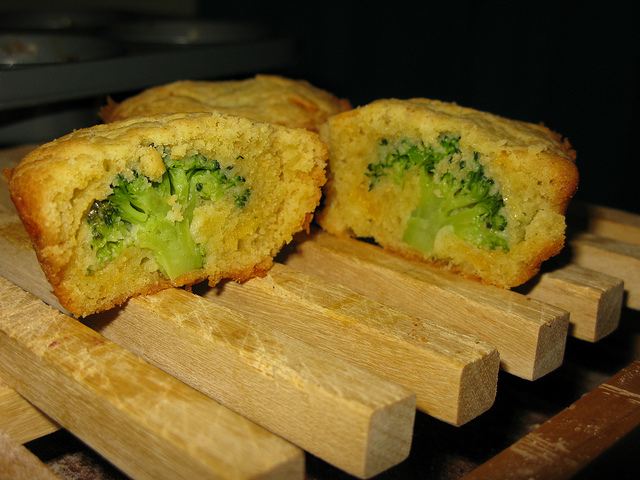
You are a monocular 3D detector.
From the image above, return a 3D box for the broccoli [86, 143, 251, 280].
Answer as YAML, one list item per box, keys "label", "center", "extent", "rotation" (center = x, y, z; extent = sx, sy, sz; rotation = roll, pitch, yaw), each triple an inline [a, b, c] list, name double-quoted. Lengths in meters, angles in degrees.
- label: "broccoli"
  center: [-0.388, -0.074, 1.324]
  extent: [0.347, 0.274, 0.121]
  rotation: [-38, 57, -2]

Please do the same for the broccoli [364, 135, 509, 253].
- label: "broccoli"
  center: [0.340, -0.171, 1.465]
  extent: [0.333, 0.101, 0.217]
  rotation: [24, -13, 4]
